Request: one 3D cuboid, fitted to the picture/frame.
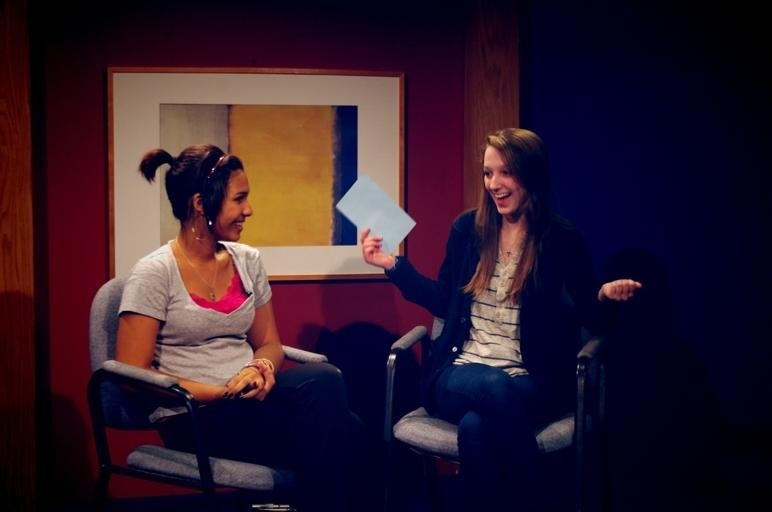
[{"bbox_3d":[-0.666,-0.413,3.116,1.071,0.772,0.044,-1,-3,-9],"label":"picture/frame"}]

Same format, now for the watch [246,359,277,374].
[{"bbox_3d":[-0.531,0.456,2.729,0.075,0.039,0.061,7,-20,13],"label":"watch"}]
